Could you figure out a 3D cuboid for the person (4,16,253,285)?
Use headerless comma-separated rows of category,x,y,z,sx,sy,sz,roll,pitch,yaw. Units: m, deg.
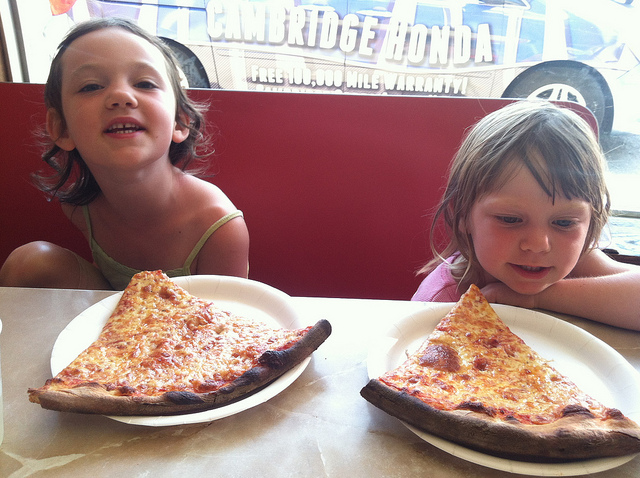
person,-0.616,-0.223,1.659,0.787,0.945,0.485,3,23,-8

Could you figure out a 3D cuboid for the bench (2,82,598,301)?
bench,-0.087,-0.169,1.679,1.320,0.452,0.786,5,15,-20

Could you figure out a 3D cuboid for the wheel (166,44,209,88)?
wheel,-0.706,-0.931,2.652,0.156,0.191,0.153,6,23,-2

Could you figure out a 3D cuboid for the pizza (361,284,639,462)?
pizza,0.354,0.238,0.942,0.308,0.053,0.292,17,35,33

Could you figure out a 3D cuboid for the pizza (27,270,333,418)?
pizza,-0.317,0.211,1.024,0.322,0.046,0.307,-1,28,1
